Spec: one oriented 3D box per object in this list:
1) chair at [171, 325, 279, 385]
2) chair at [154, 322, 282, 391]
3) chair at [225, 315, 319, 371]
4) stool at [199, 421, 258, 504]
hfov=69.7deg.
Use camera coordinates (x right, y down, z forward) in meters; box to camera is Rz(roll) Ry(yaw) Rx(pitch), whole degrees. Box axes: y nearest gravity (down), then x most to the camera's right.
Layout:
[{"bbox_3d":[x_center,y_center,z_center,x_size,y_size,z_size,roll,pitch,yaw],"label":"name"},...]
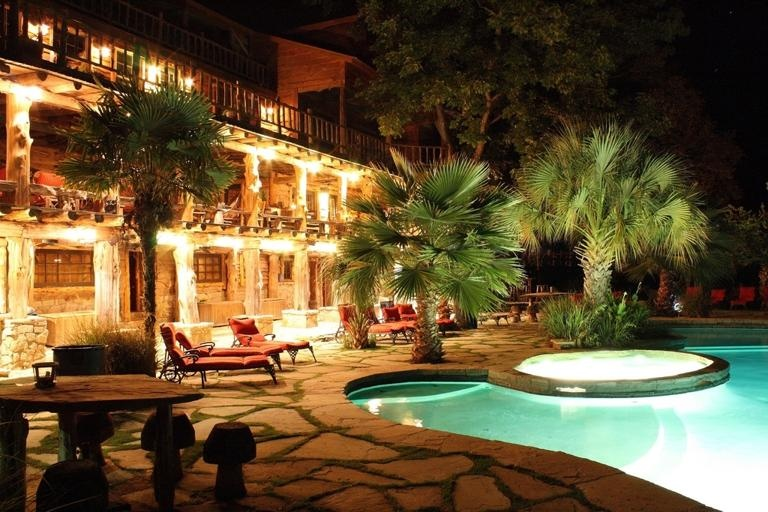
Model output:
[{"bbox_3d":[-3.413,2.051,11.516,2.167,1.047,1.256,-1,0,-9],"label":"chair"},{"bbox_3d":[-3.475,2.101,11.540,2.322,1.121,1.352,-1,0,-10],"label":"chair"},{"bbox_3d":[-2.956,2.124,13.871,2.231,1.152,1.196,-1,-2,23],"label":"chair"},{"bbox_3d":[-1.955,2.598,7.162,0.894,0.970,0.796,3,-7,-15],"label":"stool"}]
